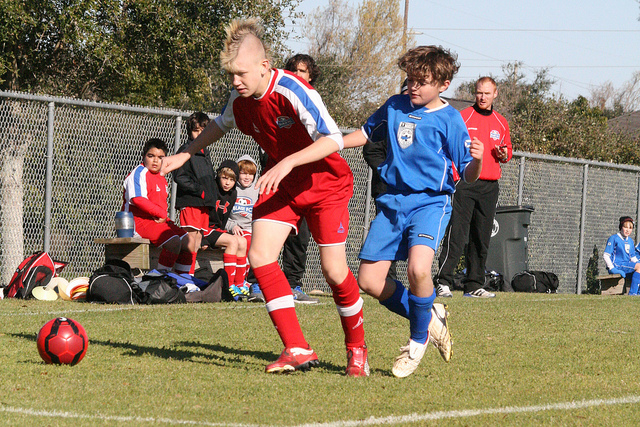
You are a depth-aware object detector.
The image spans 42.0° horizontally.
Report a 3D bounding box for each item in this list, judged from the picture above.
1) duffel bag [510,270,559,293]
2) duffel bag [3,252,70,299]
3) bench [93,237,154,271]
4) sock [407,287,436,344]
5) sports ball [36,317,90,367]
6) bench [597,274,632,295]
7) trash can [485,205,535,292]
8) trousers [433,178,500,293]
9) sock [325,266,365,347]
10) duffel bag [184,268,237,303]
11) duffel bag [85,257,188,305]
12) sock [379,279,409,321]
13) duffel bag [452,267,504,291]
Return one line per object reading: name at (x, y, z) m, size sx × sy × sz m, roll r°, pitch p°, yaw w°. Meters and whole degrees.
duffel bag at (3.550, 1.130, 13.682) m, size 0.876 × 0.332 × 0.475 m, roll 1°, pitch 9°, yaw -9°
duffel bag at (-3.582, 0.765, 10.393) m, size 0.974 × 0.482 × 0.242 m, roll 0°, pitch -3°, yaw -41°
bench at (-2.566, 0.484, 10.979) m, size 0.664 × 0.607 × 0.487 m, roll 0°, pitch -5°, yaw 22°
sock at (0.926, 0.969, 7.697) m, size 0.190 × 0.561 × 0.255 m, roll 8°, pitch 28°, yaw 20°
sports ball at (-2.379, 1.168, 7.665) m, size 0.467 × 0.497 × 0.467 m, roll 1°, pitch 2°, yaw 0°
bench at (5.160, 1.221, 14.463) m, size 0.411 × 0.239 × 0.400 m, roll 0°, pitch -1°, yaw -44°
trash can at (3.254, 0.574, 14.291) m, size 0.933 × 1.419 × 0.655 m, roll 4°, pitch 1°, yaw 13°
trousers at (2.095, 0.329, 11.759) m, size 0.736 × 1.679 × 0.358 m, roll -3°, pitch 11°, yaw -27°
sock at (0.289, 0.886, 7.718) m, size 0.323 × 0.712 × 0.366 m, roll -4°, pitch 11°, yaw -31°
duffel bag at (-1.417, 0.914, 10.568) m, size 0.659 × 0.372 × 0.255 m, roll -1°, pitch 10°, yaw -19°
duffel bag at (-2.268, 0.900, 10.161) m, size 0.923 × 0.784 × 0.668 m, roll 3°, pitch -1°, yaw 6°
sock at (0.742, 0.815, 7.944) m, size 0.292 × 0.396 × 0.347 m, roll 5°, pitch 10°, yaw 18°
duffel bag at (2.591, 1.077, 13.601) m, size 0.784 × 0.275 × 0.502 m, roll 0°, pitch 2°, yaw -1°
